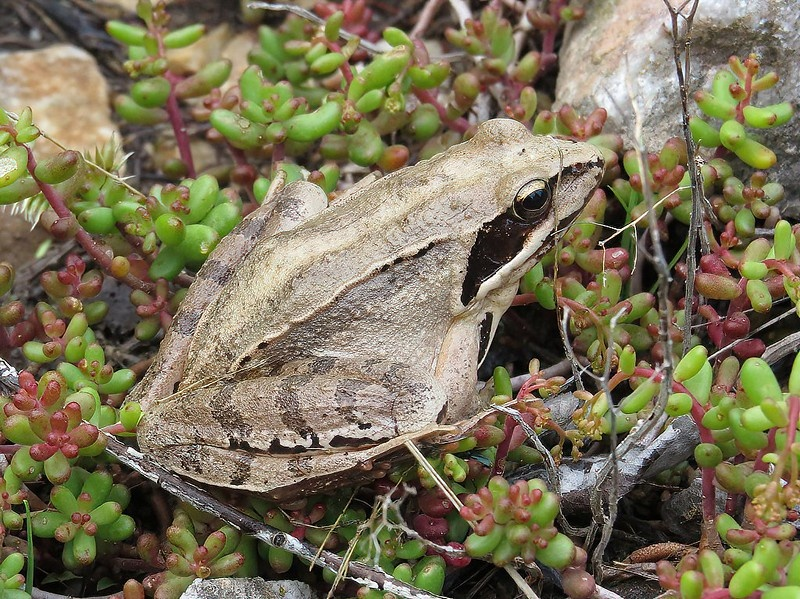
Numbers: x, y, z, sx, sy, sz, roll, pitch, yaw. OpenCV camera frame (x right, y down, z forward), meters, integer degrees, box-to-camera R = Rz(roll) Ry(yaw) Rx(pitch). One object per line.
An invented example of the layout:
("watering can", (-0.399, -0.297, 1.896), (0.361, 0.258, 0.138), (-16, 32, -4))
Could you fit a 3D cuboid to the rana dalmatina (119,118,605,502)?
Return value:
("rana dalmatina", (-0.179, -0.057, 3.873), (2.227, 0.860, 1.973), (-35, 49, -24))
